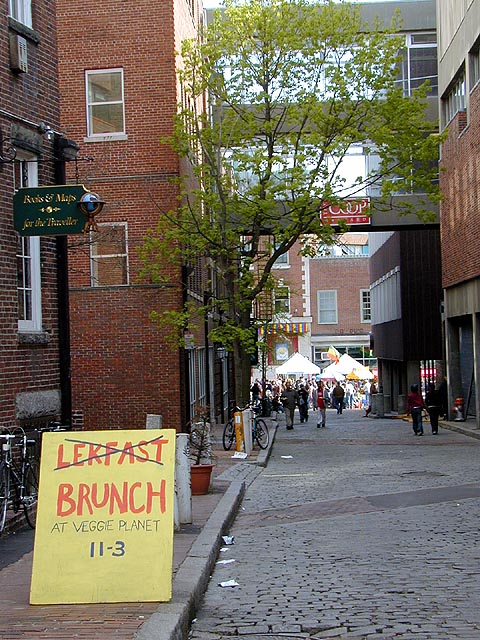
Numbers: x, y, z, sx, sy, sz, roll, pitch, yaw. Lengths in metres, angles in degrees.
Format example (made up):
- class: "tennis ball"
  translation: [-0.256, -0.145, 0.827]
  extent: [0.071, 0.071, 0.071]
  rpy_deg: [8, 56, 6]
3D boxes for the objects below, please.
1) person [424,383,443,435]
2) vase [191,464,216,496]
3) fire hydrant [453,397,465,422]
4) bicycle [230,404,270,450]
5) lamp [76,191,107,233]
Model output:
- class: "person"
  translation: [6.100, 2.791, 28.467]
  extent: [0.522, 1.605, 1.497]
  rpy_deg: [-1, -3, 11]
- class: "vase"
  translation: [-0.543, 2.200, 12.633]
  extent: [0.439, 0.315, 0.443]
  rpy_deg: [-4, -4, 44]
- class: "fire hydrant"
  translation: [7.677, 3.122, 31.611]
  extent: [0.334, 0.813, 1.135]
  rpy_deg: [-1, -3, 13]
- class: "bicycle"
  translation: [-0.024, 2.602, 21.497]
  extent: [0.693, 0.816, 1.421]
  rpy_deg: [-11, -11, 18]
- class: "lamp"
  translation: [-1.732, -1.246, 10.464]
  extent: [0.317, 0.447, 0.274]
  rpy_deg: [-1, -3, 1]
